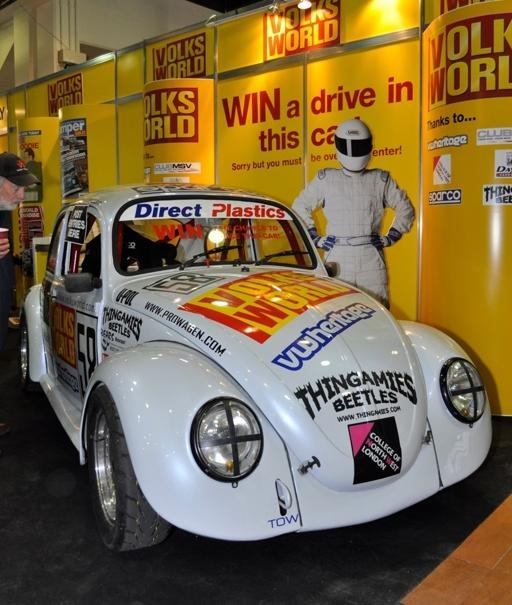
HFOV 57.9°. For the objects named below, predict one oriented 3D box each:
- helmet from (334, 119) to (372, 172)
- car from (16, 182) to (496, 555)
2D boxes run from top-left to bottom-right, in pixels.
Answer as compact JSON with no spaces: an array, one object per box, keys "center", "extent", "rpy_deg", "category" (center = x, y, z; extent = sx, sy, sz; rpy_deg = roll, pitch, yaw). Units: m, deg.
[{"center":[1.001,-1.736,5.077],"extent":[0.414,0.471,0.553],"rpy_deg":[-1,44,-4],"category":"helmet"},{"center":[-0.124,0.112,2.372],"extent":[1.459,1.719,1.912],"rpy_deg":[0,-1,-34],"category":"car"}]
